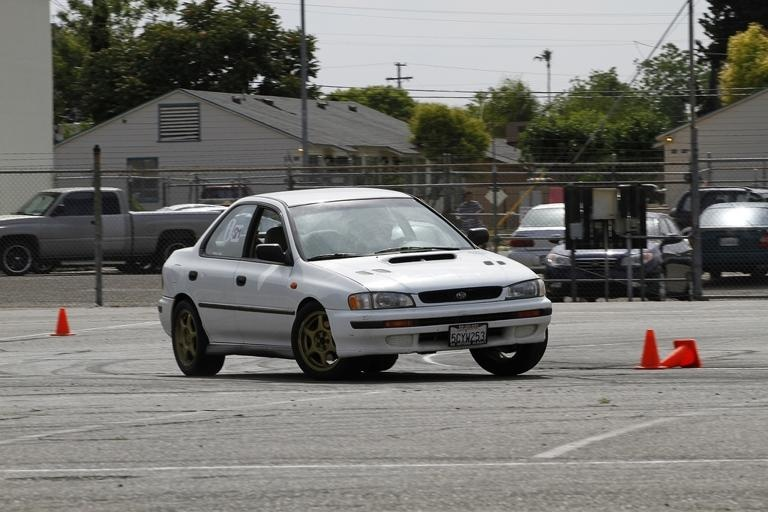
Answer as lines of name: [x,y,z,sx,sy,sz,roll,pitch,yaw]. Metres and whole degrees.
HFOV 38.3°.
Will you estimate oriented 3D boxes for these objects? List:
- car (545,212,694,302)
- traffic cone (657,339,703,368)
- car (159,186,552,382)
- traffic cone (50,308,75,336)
car: [5.006,0.138,23.156,2.271,1.327,3.870,-2,-1,29]
traffic cone: [3.381,1.129,12.817,0.511,0.228,0.335,3,-2,-29]
car: [-0.471,0.112,13.200,2.827,1.431,4.453,-11,14,-40]
traffic cone: [-4.907,0.994,16.937,0.287,0.399,0.502,0,1,-15]
